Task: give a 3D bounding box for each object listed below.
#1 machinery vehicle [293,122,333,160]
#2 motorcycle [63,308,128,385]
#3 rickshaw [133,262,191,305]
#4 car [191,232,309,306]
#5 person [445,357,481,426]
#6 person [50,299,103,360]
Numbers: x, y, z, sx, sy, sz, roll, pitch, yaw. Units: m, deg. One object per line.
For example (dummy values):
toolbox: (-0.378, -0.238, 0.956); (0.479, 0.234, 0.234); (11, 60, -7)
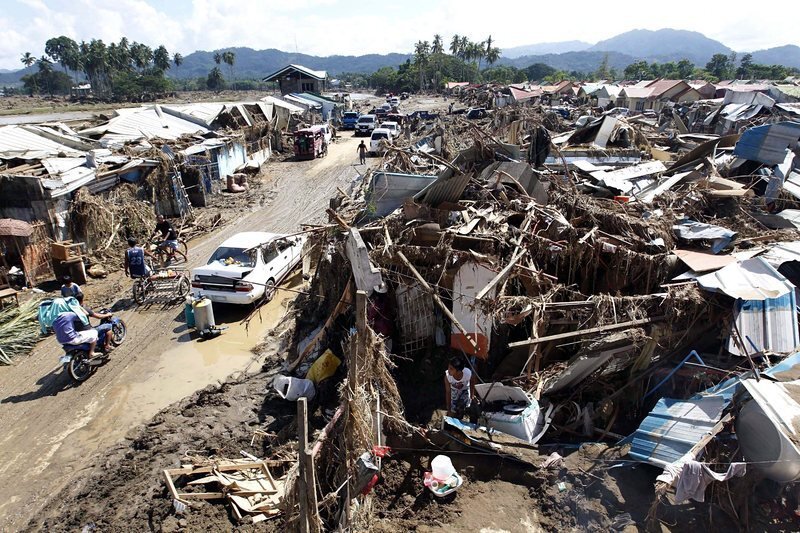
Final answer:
machinery vehicle: (-5.670, -8.487, 33.633); (1.985, 2.116, 3.755); (4, 31, 8)
motorcycle: (-8.308, 1.908, 13.942); (0.992, 1.566, 2.584); (-3, 22, 3)
rickshaw: (-7.921, 0.610, 16.853); (0.921, 1.233, 2.203); (3, -4, -5)
car: (-5.014, -0.420, 17.723); (2.346, 1.601, 5.479); (6, 25, 10)
person: (1.463, 2.950, 12.041); (0.732, 1.201, 0.770); (0, -1, 0)
person: (-8.536, 1.760, 13.406); (0.882, 1.517, 0.710); (-13, 26, -29)
